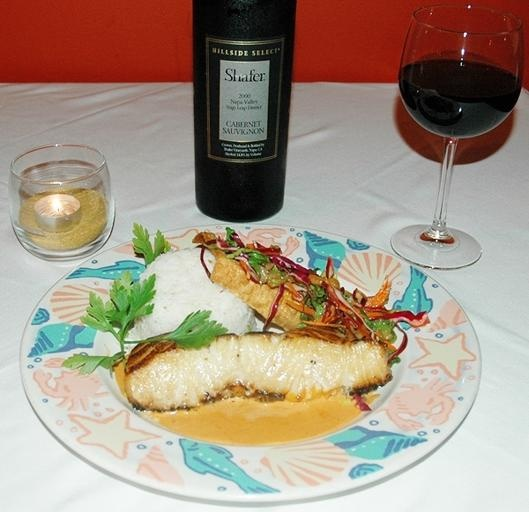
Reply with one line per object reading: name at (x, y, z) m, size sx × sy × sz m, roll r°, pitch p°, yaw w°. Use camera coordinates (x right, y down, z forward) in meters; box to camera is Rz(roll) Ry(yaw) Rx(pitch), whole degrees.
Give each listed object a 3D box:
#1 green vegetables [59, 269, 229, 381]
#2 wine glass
green vegetables at (-0.173, 0.112, 0.709) m, size 0.228 × 0.052 × 0.175 m, roll 24°, pitch 54°, yaw 40°
wine glass at (0.283, -0.198, 1.024) m, size 0.274 × 0.513 × 0.235 m, roll 7°, pitch 31°, yaw 15°
